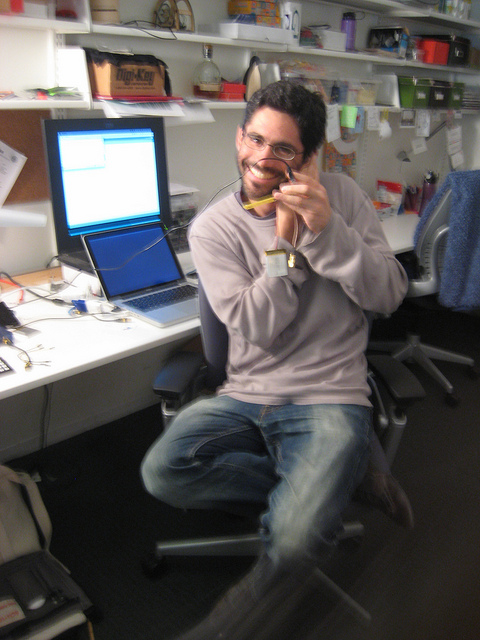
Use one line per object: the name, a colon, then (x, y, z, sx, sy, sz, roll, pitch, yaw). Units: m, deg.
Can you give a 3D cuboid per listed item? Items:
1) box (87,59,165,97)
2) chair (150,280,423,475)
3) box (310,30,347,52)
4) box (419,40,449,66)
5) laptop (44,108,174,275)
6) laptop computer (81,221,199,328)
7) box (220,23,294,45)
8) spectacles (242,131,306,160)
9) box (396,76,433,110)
box: (-0.349, -0.743, 1.466, 0.165, 0.054, 0.162, -24, 45, -37)
chair: (0.076, 0.136, 1.313, 0.598, 0.799, 0.528, -1, 13, 1)
box: (0.394, -1.226, 2.057, 0.111, 0.069, 0.110, 14, 43, 12)
box: (1.093, -1.530, 2.702, 0.096, 0.124, 0.267, 19, 31, 38)
laptop: (-0.360, -0.422, 1.502, 0.248, 0.432, 0.468, 20, 29, 36)
laptop computer: (-0.245, -0.155, 1.424, 0.418, 0.206, 0.397, 7, 23, 16)
box: (0.075, -1.076, 1.777, 0.300, 0.061, 0.101, -15, 28, -29)
spectacles: (0.072, -0.406, 1.106, 0.128, 0.054, 0.048, 2, 25, 6)
box: (0.961, -1.251, 2.594, 0.257, 0.162, 0.076, -15, 27, -27)
